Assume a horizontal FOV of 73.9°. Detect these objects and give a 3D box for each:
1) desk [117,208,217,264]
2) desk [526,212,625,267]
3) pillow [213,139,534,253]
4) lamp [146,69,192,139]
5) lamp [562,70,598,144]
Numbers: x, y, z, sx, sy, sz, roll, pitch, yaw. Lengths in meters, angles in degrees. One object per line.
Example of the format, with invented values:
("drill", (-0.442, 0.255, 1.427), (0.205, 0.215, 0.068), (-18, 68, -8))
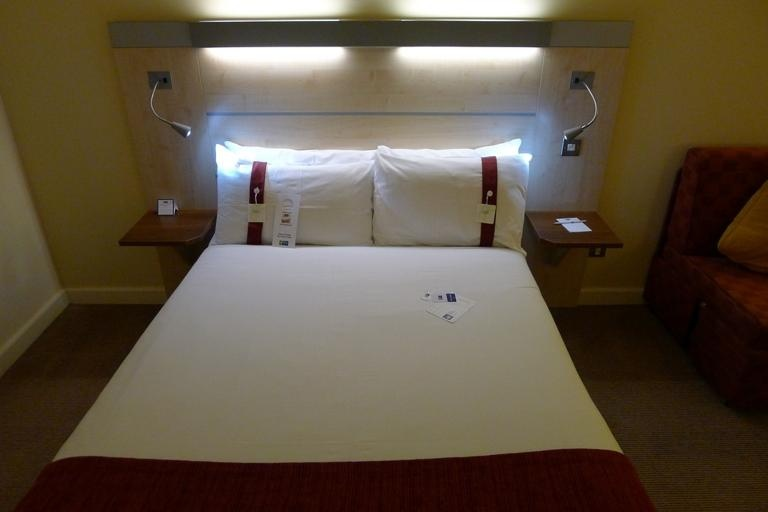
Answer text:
("desk", (-1.343, -0.184, 3.268), (0.437, 0.431, 0.435), (0, 31, -1))
("desk", (1.174, -0.134, 3.281), (0.422, 0.212, 0.421), (-1, 35, 1))
("pillow", (-0.071, -0.358, 3.194), (1.911, 0.627, 0.265), (3, 15, 1))
("lamp", (-1.320, -0.930, 3.218), (0.194, 0.373, 0.332), (-11, 21, -42))
("lamp", (1.232, -0.924, 3.207), (0.177, 0.410, 0.242), (12, 18, 31))
